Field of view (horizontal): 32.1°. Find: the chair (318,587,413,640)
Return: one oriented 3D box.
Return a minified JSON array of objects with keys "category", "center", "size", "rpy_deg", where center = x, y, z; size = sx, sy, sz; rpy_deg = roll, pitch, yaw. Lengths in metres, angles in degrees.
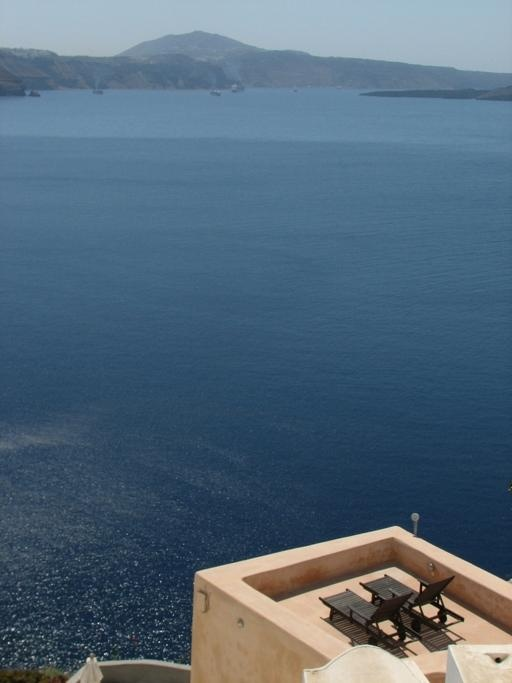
[{"category":"chair","center":[1.255,2.982,10.146],"size":[0.496,0.511,0.967],"rpy_deg":[-6,22,-36]}]
